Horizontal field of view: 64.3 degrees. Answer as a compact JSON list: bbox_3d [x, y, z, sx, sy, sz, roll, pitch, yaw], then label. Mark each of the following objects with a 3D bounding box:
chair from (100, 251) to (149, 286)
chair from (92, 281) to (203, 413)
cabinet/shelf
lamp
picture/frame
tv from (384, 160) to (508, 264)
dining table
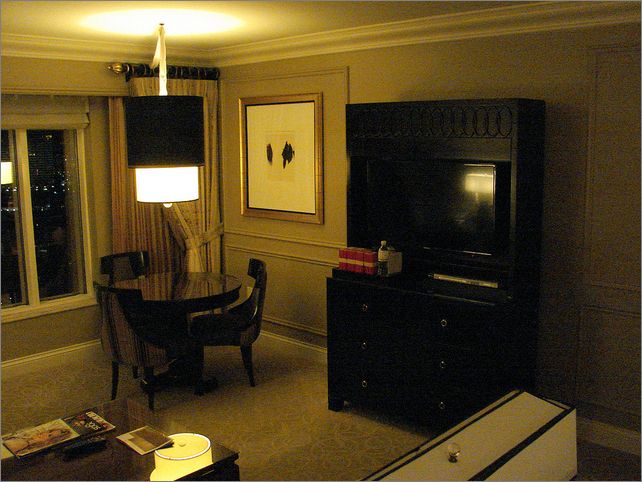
[{"bbox_3d":[-2.061,0.252,5.360,0.456,0.429,0.393,-5,9,-41],"label":"chair"},{"bbox_3d":[-1.516,0.884,4.602,0.848,1.051,0.814,-5,11,-20],"label":"chair"},{"bbox_3d":[0.868,0.204,4.018,1.603,2.589,0.675,6,14,32],"label":"cabinet/shelf"},{"bbox_3d":[-1.083,-0.622,3.565,0.531,0.767,0.277,-4,12,-15],"label":"lamp"},{"bbox_3d":[-0.436,-0.873,5.409,1.184,1.325,0.129,7,14,37],"label":"picture/frame"},{"bbox_3d":[1.029,-0.236,4.056,1.024,0.581,0.332,7,14,38],"label":"tv"},{"bbox_3d":[-1.308,0.737,4.863,1.237,0.815,1.177,-5,12,-24],"label":"dining table"}]
